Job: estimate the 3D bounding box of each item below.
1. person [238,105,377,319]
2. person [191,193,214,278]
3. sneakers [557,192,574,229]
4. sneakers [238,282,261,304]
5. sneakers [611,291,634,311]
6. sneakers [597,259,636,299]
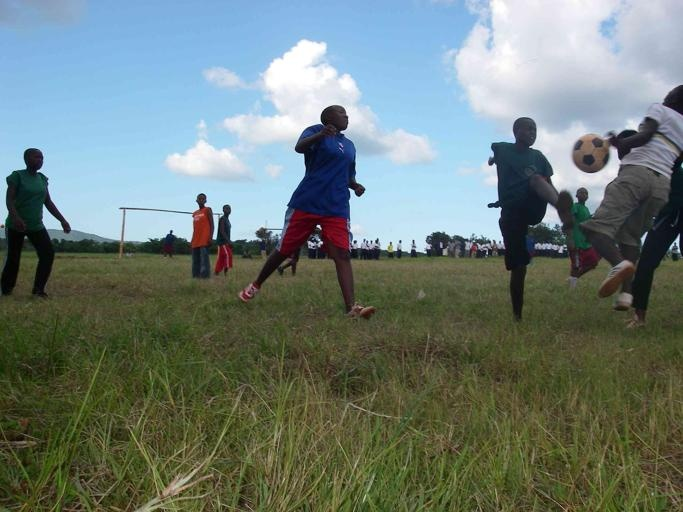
[{"bbox_3d":[-0.276,-0.509,4.931,1.183,2.081,0.916,2,1,9],"label":"person"},{"bbox_3d":[-2.588,-0.402,9.214,0.359,1.571,0.883,1,1,-17],"label":"person"},{"bbox_3d":[1.959,-0.415,4.350,0.143,0.278,0.314,2,2,24],"label":"sneakers"},{"bbox_3d":[-1.052,0.427,5.637,0.136,0.199,0.105,47,-3,46],"label":"sneakers"},{"bbox_3d":[2.480,0.393,4.379,0.117,0.129,0.290,0,1,18],"label":"sneakers"},{"bbox_3d":[2.278,0.180,4.125,0.243,0.275,0.358,2,2,29],"label":"sneakers"}]
